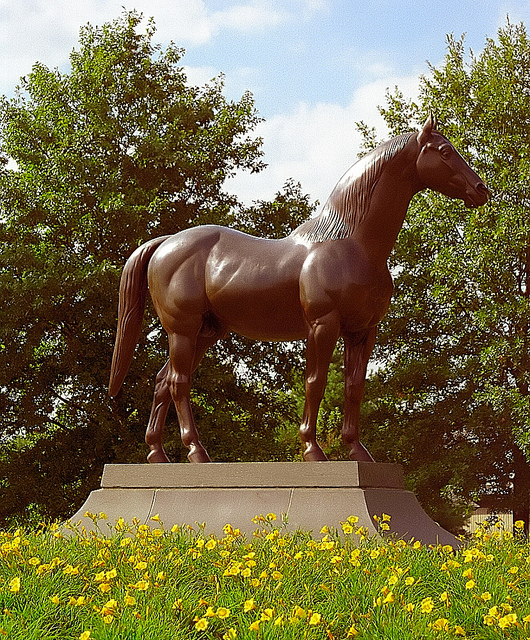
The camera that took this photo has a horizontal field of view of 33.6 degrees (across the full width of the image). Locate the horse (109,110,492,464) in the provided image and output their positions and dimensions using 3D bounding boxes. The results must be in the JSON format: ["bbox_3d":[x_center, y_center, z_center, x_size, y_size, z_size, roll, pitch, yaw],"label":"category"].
[{"bbox_3d":[0.175,-0.072,6.137,2.973,2.122,0.765,-4,-11,28],"label":"horse"}]
